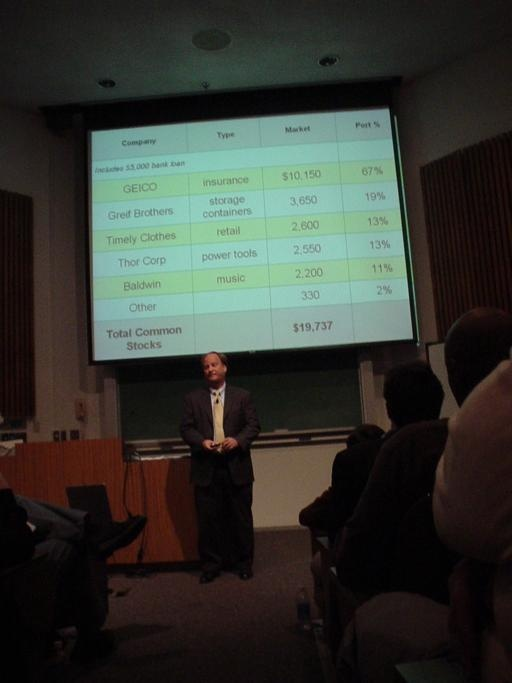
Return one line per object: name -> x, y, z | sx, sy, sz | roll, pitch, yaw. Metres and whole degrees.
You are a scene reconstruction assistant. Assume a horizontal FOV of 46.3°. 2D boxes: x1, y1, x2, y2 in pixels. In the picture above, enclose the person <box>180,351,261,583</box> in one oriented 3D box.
person -> -0.125, 0.495, 2.396 | 0.333, 0.778, 0.708 | -5, -1, -7
